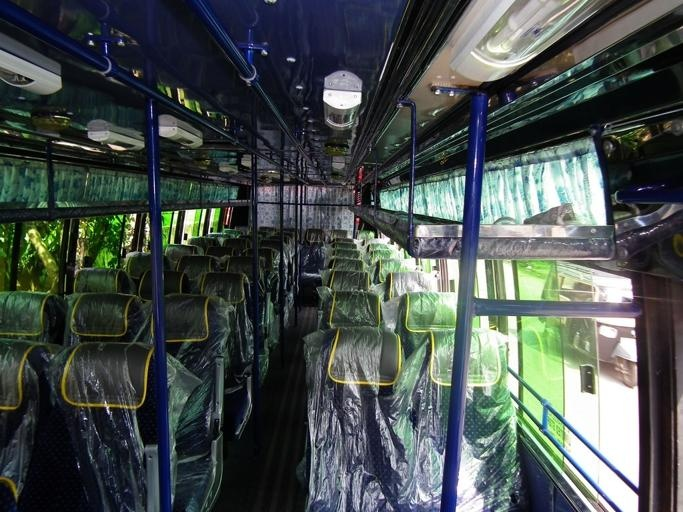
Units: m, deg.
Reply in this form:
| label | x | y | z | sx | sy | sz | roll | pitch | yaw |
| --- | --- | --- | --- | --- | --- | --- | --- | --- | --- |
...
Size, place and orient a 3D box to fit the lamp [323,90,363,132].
| label | x | y | z | sx | sy | sz | roll | pitch | yaw |
| --- | --- | --- | --- | --- | --- | --- | --- | --- | --- |
| lamp | 0.003 | -0.850 | 2.696 | 0.226 | 0.157 | 0.484 | -2 | 7 | -1 |

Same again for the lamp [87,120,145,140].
| label | x | y | z | sx | sy | sz | roll | pitch | yaw |
| --- | --- | --- | --- | --- | --- | --- | --- | --- | --- |
| lamp | -1.766 | -0.964 | 3.672 | 0.191 | 0.109 | 0.467 | 1 | 0 | 29 |

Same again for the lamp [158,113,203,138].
| label | x | y | z | sx | sy | sz | roll | pitch | yaw |
| --- | --- | --- | --- | --- | --- | --- | --- | --- | --- |
| lamp | -1.134 | -0.901 | 3.309 | 0.159 | 0.145 | 0.389 | 1 | 0 | 24 |
